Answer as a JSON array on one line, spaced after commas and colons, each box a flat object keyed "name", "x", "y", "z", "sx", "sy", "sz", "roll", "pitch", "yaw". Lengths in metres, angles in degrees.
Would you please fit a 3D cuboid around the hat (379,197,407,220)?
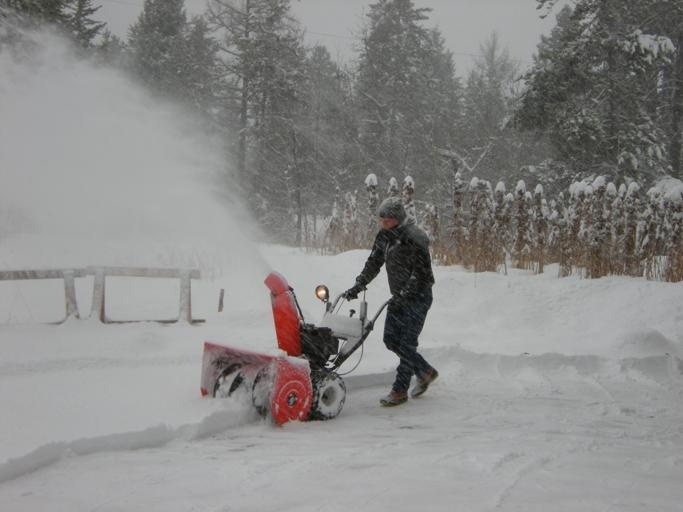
[{"name": "hat", "x": 1.181, "y": -1.146, "z": 21.888, "sx": 0.541, "sy": 0.607, "sz": 0.446, "roll": -5, "pitch": 11, "yaw": -21}]
